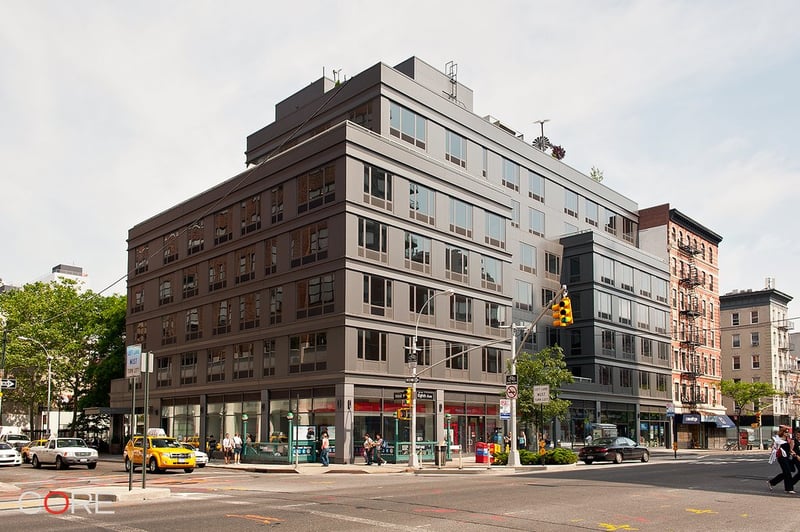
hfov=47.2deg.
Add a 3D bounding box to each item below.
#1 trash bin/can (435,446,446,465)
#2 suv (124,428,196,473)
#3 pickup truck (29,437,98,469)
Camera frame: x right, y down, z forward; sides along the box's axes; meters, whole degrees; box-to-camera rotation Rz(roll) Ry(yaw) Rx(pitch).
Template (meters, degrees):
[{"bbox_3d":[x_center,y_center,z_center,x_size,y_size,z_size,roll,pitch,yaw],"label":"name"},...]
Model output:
[{"bbox_3d":[2.834,13.455,65.380,0.653,1.501,0.988,1,-19,-5],"label":"trash bin/can"},{"bbox_3d":[-15.799,11.699,60.588,3.446,2.928,6.900,11,-19,-40],"label":"suv"},{"bbox_3d":[-24.460,13.680,66.353,6.305,2.123,2.608,-6,-8,40],"label":"pickup truck"}]
